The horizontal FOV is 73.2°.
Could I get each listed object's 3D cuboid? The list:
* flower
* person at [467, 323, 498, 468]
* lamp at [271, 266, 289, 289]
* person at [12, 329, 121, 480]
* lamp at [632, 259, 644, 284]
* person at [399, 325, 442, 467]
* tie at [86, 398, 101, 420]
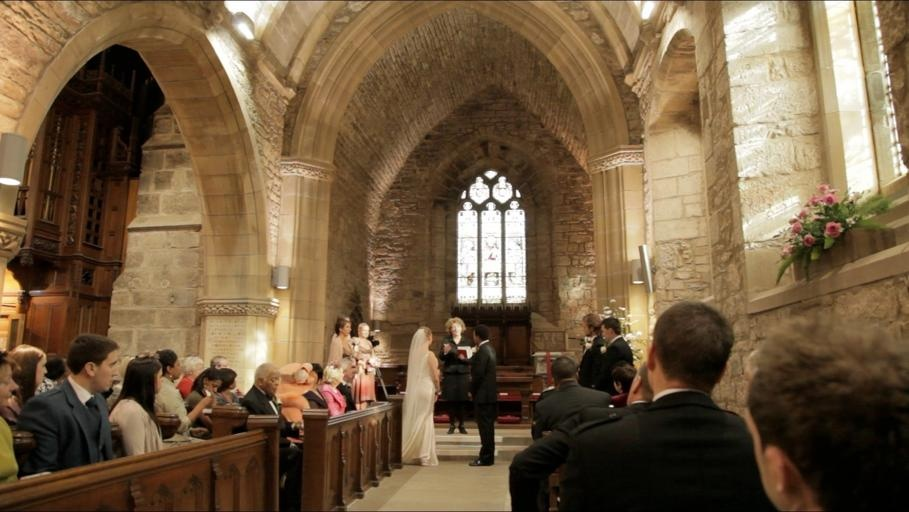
[{"bbox_3d":[3.896,-0.235,6.604,1.023,0.567,1.019,-37,12,-8],"label":"flower"},{"bbox_3d":[0.426,2.077,8.930,0.390,1.919,0.575,-1,-15,0],"label":"person"},{"bbox_3d":[-3.184,0.404,11.319,0.303,0.414,0.210,0,-14,0],"label":"lamp"},{"bbox_3d":[-3.408,1.300,5.500,0.749,1.207,0.241,8,-17,-29],"label":"person"},{"bbox_3d":[3.111,0.257,10.437,0.181,0.428,0.256,-3,-14,9],"label":"lamp"},{"bbox_3d":[-0.503,2.092,9.199,0.547,2.046,0.693,1,-15,-4],"label":"person"},{"bbox_3d":[-3.243,1.385,5.537,0.150,0.173,0.063,-10,-4,-16],"label":"tie"}]
